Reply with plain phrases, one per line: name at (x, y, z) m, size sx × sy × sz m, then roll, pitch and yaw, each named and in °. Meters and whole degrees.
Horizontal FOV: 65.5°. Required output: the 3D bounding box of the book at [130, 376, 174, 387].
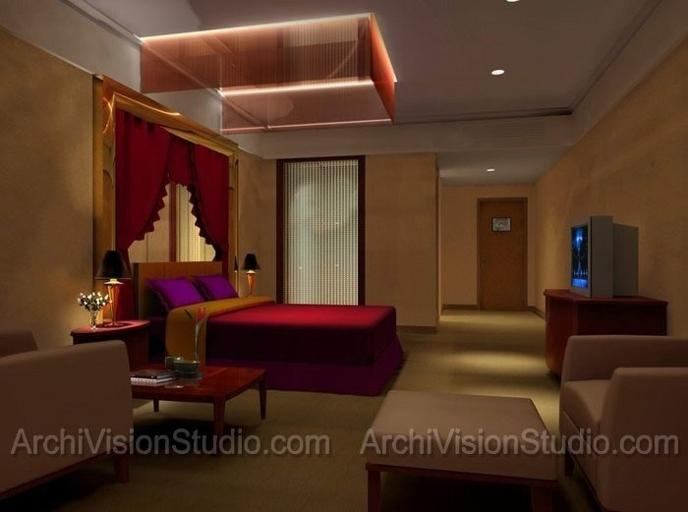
book at (-1.492, 0.960, 4.096) m, size 0.148 × 0.042 × 0.166 m, roll 1°, pitch -1°, yaw 10°

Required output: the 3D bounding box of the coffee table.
coffee table at (-1.134, 1.157, 4.305) m, size 0.912 × 0.433 × 0.780 m, roll 2°, pitch 10°, yaw 10°

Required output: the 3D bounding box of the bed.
bed at (-0.772, 0.748, 5.443) m, size 1.732 × 1.004 × 1.523 m, roll 0°, pitch 1°, yaw 15°

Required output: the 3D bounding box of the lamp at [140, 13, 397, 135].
lamp at (-0.681, -1.725, 4.999) m, size 2.202 × 1.067 × 0.840 m, roll 4°, pitch 9°, yaw 19°

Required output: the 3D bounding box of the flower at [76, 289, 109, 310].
flower at (-2.197, 0.381, 4.644) m, size 0.184 × 0.159 × 0.207 m, roll 0°, pitch 1°, yaw -2°

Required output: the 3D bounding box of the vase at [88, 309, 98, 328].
vase at (-2.161, 0.527, 4.620) m, size 0.050 × 0.160 × 0.136 m, roll -3°, pitch 9°, yaw -23°
